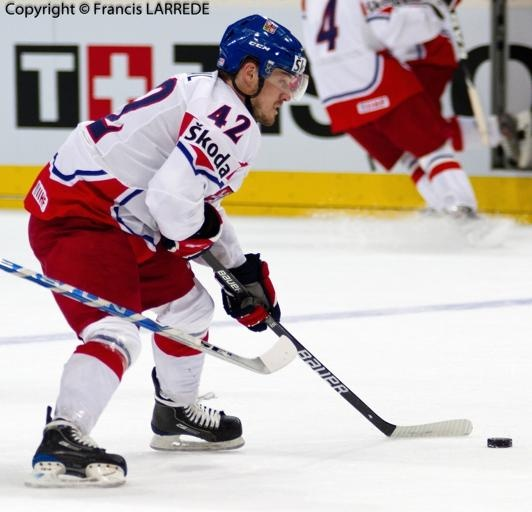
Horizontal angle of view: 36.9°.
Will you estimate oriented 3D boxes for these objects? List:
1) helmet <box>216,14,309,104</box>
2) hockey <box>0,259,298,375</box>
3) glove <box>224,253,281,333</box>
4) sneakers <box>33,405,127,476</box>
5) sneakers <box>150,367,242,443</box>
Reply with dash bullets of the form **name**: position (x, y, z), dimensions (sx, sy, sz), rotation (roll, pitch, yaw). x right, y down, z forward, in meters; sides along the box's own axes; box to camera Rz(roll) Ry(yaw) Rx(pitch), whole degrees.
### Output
- **helmet**: position (-0.004, -0.485, 2.021), dimensions (0.261, 0.178, 0.166), rotation (15, 17, 1)
- **hockey**: position (-0.330, 0.185, 2.263), dimensions (0.820, 0.107, 0.072), rotation (24, -21, -15)
- **glove**: position (-0.016, 0.094, 2.222), dimensions (0.101, 0.197, 0.182), rotation (-33, 11, -33)
- **sneakers**: position (-0.362, 0.374, 1.618), dimensions (0.228, 0.148, 0.063), rotation (-4, -14, 16)
- **sneakers**: position (-0.199, 0.436, 2.180), dimensions (0.302, 0.143, 0.092), rotation (10, -6, -24)
